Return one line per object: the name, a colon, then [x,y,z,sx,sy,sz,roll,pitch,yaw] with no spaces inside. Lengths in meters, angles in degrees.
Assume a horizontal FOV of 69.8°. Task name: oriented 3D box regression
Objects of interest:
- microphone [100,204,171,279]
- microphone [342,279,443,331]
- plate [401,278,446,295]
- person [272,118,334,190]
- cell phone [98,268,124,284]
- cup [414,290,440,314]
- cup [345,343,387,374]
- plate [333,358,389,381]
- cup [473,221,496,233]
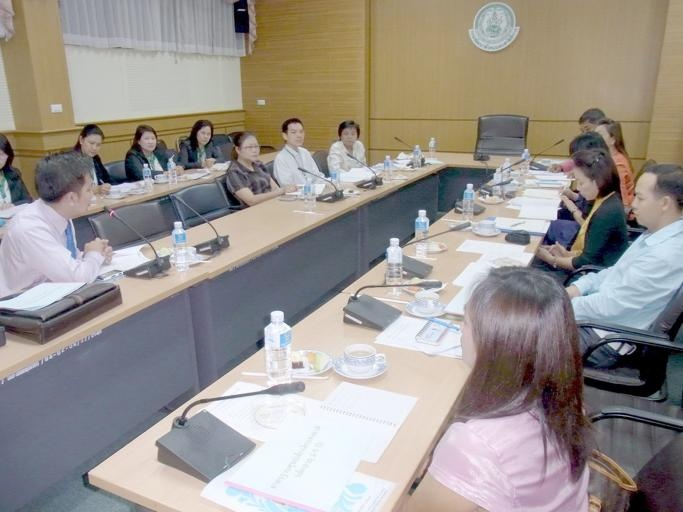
microphone: [-1.061,-0.074,2.491,0.308,0.314,0.326,4,15,6]
microphone: [0.210,0.221,2.032,0.361,0.159,0.209,6,17,20]
plate: [0.389,0.141,2.295,0.138,0.028,0.091,0,17,-12]
person: [-0.390,-0.916,4.852,0.543,0.868,0.611,8,22,23]
cell phone: [-1.157,0.101,2.464,0.077,0.018,0.076,9,21,18]
cup: [0.385,0.198,2.145,0.092,0.075,0.098,-1,14,0]
cup: [0.079,0.358,1.723,0.113,0.049,0.088,12,19,25]
plate: [0.070,0.394,1.719,0.187,0.033,0.109,-7,23,-6]
cup: [0.905,-0.186,3.089,0.132,0.054,0.077,3,20,14]
